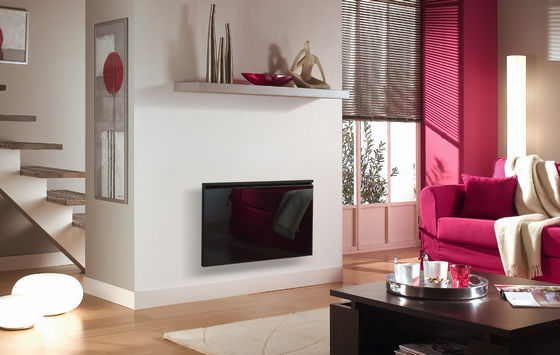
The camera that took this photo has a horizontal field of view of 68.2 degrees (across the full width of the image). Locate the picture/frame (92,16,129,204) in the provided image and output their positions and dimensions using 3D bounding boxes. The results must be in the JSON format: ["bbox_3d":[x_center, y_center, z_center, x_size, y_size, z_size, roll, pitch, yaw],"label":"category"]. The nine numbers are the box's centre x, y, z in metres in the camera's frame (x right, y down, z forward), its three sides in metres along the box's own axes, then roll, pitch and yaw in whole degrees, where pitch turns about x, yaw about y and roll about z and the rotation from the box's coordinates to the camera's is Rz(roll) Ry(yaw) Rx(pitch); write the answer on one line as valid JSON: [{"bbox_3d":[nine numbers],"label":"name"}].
[{"bbox_3d":[-1.620,-0.631,3.960,0.127,1.718,0.644,-3,6,-43],"label":"picture/frame"}]

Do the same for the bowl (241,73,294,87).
[{"bbox_3d":[-0.128,-1.002,4.239,0.532,0.177,0.295,1,4,-7],"label":"bowl"}]

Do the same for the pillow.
[{"bbox_3d":[2.340,0.236,4.630,0.527,0.438,0.177,3,-20,19],"label":"pillow"}]

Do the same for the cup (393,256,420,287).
[{"bbox_3d":[0.758,0.575,2.566,0.203,0.182,0.118,0,2,-4],"label":"cup"}]

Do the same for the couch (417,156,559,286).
[{"bbox_3d":[2.495,0.514,4.740,1.181,1.291,1.758,9,-10,-42],"label":"couch"}]
